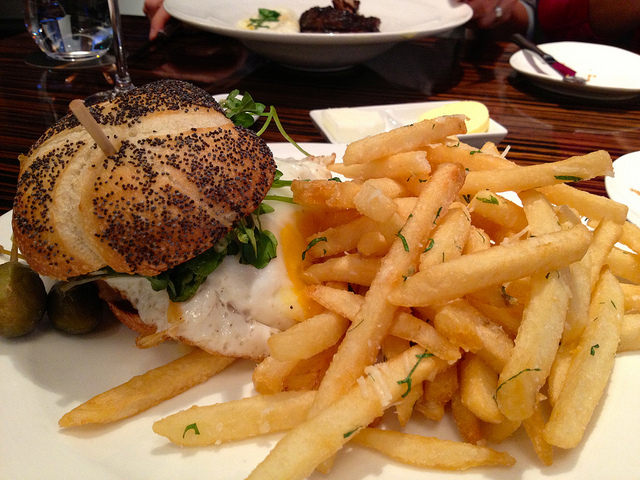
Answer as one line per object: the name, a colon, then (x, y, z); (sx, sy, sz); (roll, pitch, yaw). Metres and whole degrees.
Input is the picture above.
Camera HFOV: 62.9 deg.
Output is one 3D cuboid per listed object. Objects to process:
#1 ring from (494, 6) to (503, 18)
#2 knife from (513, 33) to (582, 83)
ring: (1.656, -2.120, 4.835); (0.074, 0.089, 0.024); (2, 15, 9)
knife: (1.736, -1.402, 4.026); (0.107, 0.069, 0.605); (-45, 65, -2)
